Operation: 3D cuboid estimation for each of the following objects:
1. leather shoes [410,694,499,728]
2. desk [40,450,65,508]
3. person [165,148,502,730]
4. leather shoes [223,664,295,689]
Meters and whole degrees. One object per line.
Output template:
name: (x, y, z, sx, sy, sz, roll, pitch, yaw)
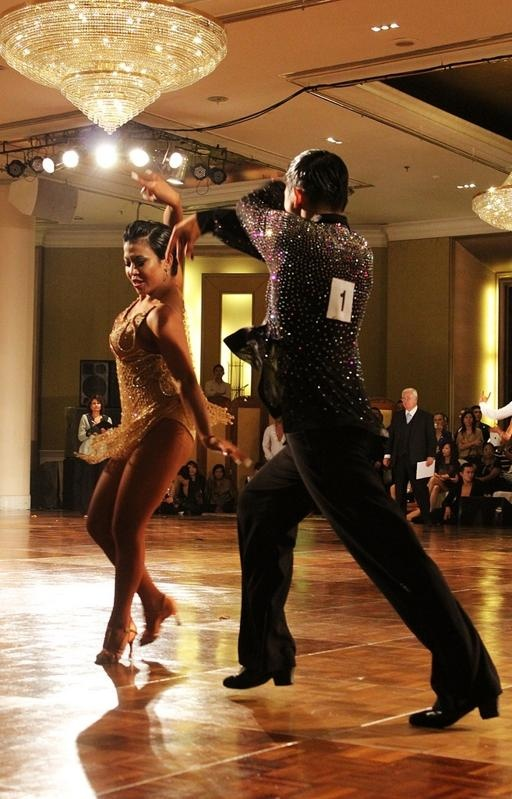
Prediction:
leather shoes: (0.415, 0.677, 1.552, 0.236, 0.086, 0.077, -3, -21, 1)
desk: (-4.350, 1.680, 14.856, 0.501, 1.036, 2.083, 2, 1, -17)
person: (0.174, 0.102, 1.719, 0.373, 1.065, 0.853, 2, 1, -45)
leather shoes: (0.002, 0.692, 1.789, 0.209, 0.078, 0.066, 2, -13, 1)
